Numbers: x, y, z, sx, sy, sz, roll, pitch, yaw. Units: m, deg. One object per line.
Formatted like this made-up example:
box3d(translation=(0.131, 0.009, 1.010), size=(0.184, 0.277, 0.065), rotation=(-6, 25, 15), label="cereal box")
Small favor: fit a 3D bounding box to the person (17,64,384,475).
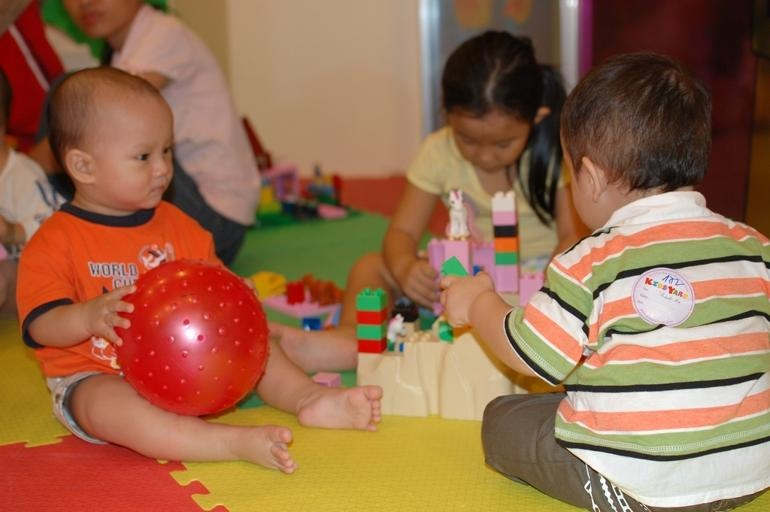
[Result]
box3d(translation=(-0.524, 0.036, 1.806), size=(0.932, 1.010, 0.694), rotation=(9, 17, 20), label="person")
